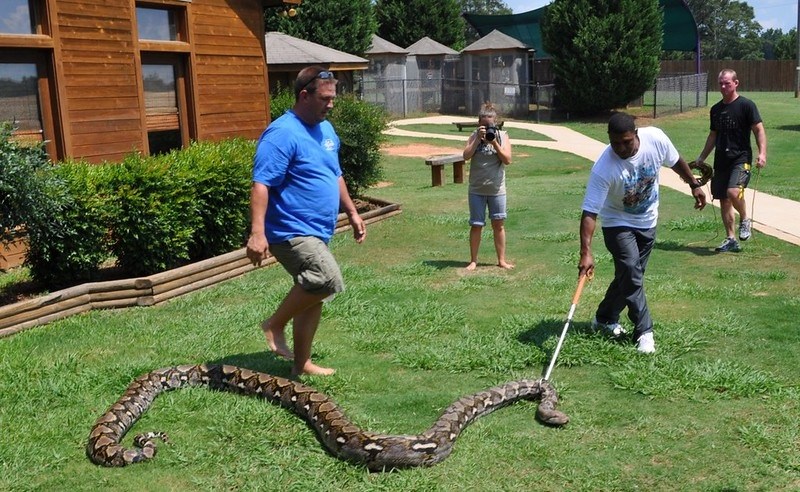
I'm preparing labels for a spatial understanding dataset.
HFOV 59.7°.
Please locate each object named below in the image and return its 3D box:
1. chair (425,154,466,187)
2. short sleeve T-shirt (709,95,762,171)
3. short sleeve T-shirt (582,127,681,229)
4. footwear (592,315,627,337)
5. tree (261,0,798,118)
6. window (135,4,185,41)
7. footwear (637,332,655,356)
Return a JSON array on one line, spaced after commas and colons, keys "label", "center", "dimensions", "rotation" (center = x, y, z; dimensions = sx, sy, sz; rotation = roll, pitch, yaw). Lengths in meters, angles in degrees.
[{"label": "chair", "center": [1.439, -2.227, 20.835], "dimensions": [0.420, 0.787, 1.725], "rotation": [4, 14, 42]}, {"label": "short sleeve T-shirt", "center": [6.349, -2.151, 13.288], "dimensions": [0.836, 1.332, 0.441], "rotation": [4, 13, 23]}, {"label": "short sleeve T-shirt", "center": [3.064, -0.904, 9.431], "dimensions": [1.370, 1.359, 0.449], "rotation": [-8, 14, -30]}, {"label": "footwear", "center": [2.898, 1.136, 9.765], "dimensions": [0.480, 0.199, 0.185], "rotation": [5, 5, 31]}, {"label": "tree", "center": [6.153, -9.833, 36.923], "dimensions": [18.375, 4.477, 10.991], "rotation": [2, 15, 17]}, {"label": "window", "center": [-5.245, -4.888, 15.148], "dimensions": [0.081, 0.693, 1.026], "rotation": [2, 11, 36]}, {"label": "footwear", "center": [3.284, 1.286, 9.317], "dimensions": [0.247, 0.233, 0.250], "rotation": [1, 12, 12]}]
